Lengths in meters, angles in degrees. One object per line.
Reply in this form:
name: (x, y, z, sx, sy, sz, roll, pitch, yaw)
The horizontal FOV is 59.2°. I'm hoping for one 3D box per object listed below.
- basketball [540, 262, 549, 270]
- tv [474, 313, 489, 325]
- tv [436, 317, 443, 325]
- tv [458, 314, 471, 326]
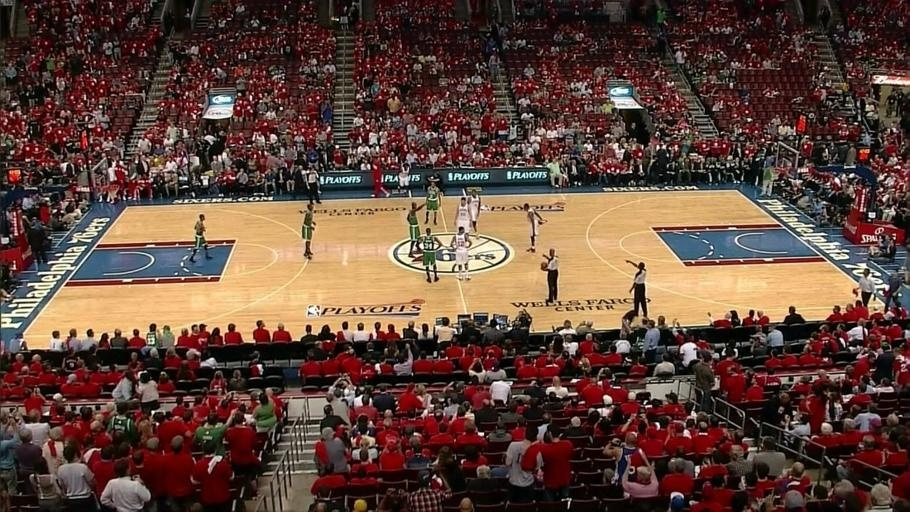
basketball: (3.618, 0.386, 32.433, 0.316, 0.136, 0.431, 0, 10, 1)
tv: (0.954, 2.316, 29.437, 0.579, 0.385, 0.330, 0, 5, 3)
tv: (-0.542, 2.413, 30.067, 0.335, 0.083, 0.359, 1, 16, 8)
tv: (0.364, 2.333, 29.315, 0.511, 0.345, 0.486, -2, -4, 5)
